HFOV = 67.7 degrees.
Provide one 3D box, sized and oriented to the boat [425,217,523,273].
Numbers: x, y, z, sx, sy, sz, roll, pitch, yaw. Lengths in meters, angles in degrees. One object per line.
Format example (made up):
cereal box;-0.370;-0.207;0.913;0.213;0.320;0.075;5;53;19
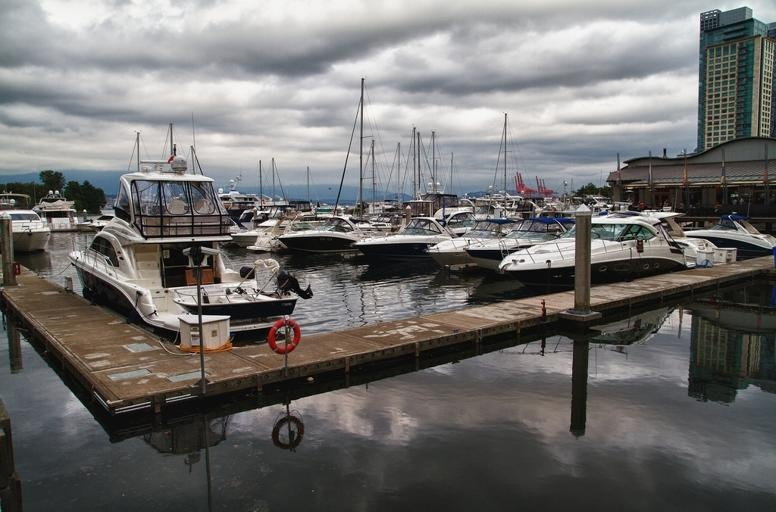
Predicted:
boat;4.579;-0.800;29.522;6.651;1.495;1.942;-9;10;-40

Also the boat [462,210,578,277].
boat;7.177;-0.727;27.404;7.260;1.682;2.089;-11;8;-33

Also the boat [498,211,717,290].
boat;9.341;-0.292;23.560;9.835;2.046;2.794;-4;3;-27
